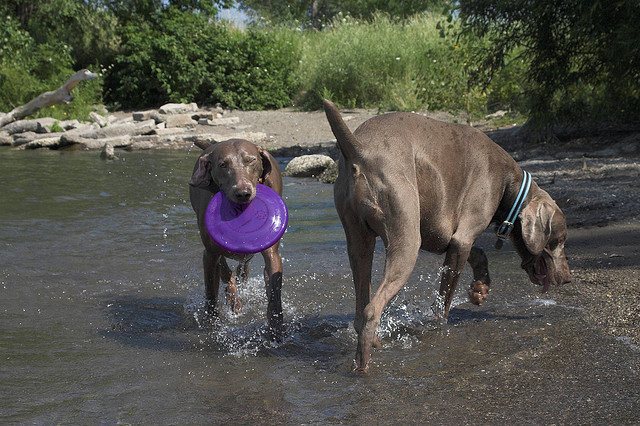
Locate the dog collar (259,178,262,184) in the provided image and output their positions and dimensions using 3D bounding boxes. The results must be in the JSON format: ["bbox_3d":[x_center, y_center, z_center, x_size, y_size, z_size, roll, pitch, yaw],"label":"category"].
[{"bbox_3d":[-0.994,-0.516,14.990,0.047,0.088,0.042,-7,16,-11],"label":"dog collar"}]
